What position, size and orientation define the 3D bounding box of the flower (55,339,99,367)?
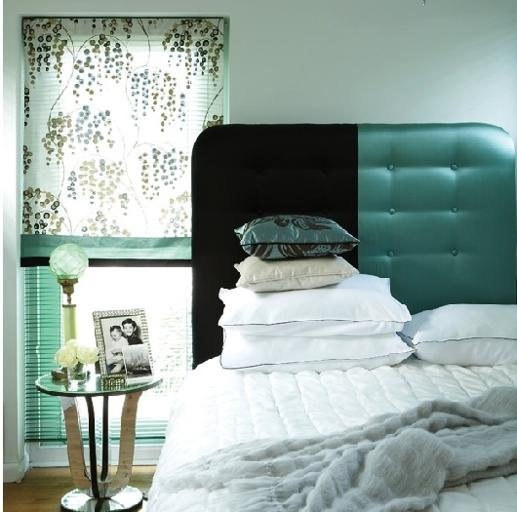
[{"bbox_3d":[-0.758,0.393,2.517,0.146,0.052,0.119,-1,8,-4],"label":"flower"}]
